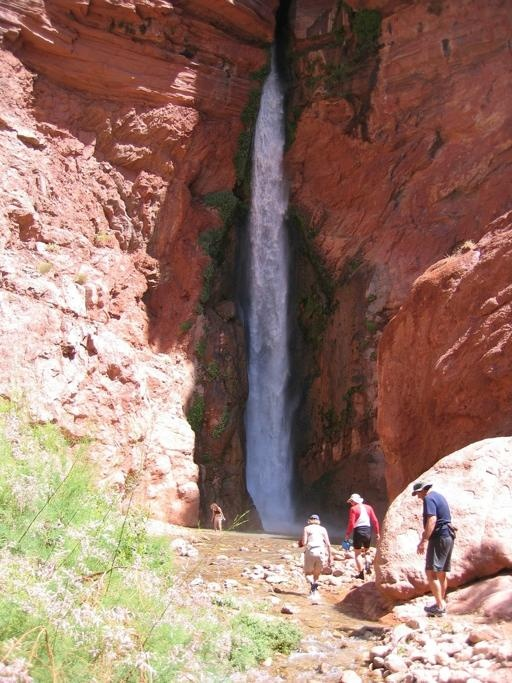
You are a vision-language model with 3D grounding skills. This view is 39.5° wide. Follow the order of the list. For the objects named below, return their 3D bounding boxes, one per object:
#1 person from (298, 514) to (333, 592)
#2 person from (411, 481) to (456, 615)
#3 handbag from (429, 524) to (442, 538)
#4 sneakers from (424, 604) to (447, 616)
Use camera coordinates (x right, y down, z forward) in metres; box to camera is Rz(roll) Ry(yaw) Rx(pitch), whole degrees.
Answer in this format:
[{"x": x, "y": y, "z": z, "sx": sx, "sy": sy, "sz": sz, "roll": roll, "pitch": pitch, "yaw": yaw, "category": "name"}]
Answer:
[{"x": 0.853, "y": 3.097, "z": 10.355, "sx": 0.446, "sy": 1.251, "sz": 1.471, "roll": 3, "pitch": -30, "yaw": 7, "category": "person"}, {"x": 1.970, "y": 2.187, "z": 7.818, "sx": 0.443, "sy": 1.536, "sz": 0.718, "roll": 0, "pitch": -31, "yaw": 12, "category": "person"}, {"x": 1.949, "y": 2.040, "z": 7.671, "sx": 0.044, "sy": 0.128, "sz": 0.149, "roll": 23, "pitch": -33, "yaw": -25, "category": "handbag"}, {"x": 1.903, "y": 2.824, "z": 7.540, "sx": 0.086, "sy": 0.101, "sz": 0.228, "roll": 0, "pitch": -1, "yaw": -21, "category": "sneakers"}]
